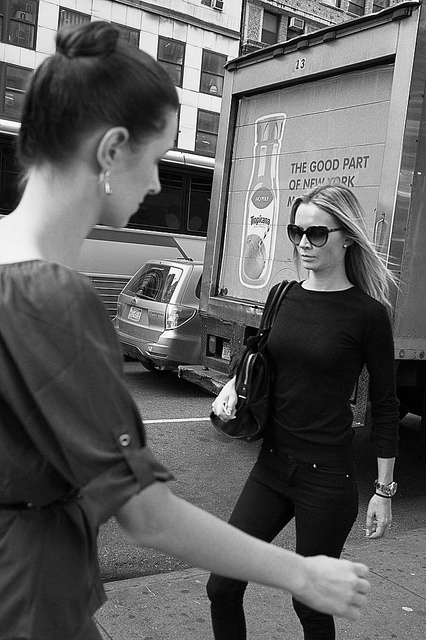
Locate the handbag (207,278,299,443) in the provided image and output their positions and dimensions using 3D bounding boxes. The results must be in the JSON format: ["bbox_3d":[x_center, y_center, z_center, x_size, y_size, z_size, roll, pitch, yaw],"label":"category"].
[{"bbox_3d":[0.253,0.239,2.566,0.437,0.772,0.207,18,1,39],"label":"handbag"}]
